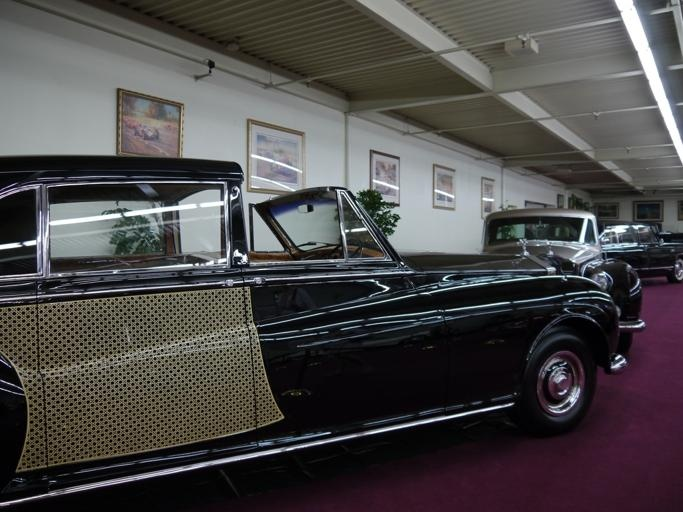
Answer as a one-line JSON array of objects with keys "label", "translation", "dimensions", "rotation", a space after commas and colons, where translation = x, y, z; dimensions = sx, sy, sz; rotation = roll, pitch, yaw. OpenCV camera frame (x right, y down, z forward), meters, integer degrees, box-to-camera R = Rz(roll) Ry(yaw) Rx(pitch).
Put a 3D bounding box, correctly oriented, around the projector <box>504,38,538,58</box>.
[{"label": "projector", "translation": [2.862, -3.350, 7.739], "dimensions": [0.455, 0.277, 0.539], "rotation": [4, 10, 30]}]
